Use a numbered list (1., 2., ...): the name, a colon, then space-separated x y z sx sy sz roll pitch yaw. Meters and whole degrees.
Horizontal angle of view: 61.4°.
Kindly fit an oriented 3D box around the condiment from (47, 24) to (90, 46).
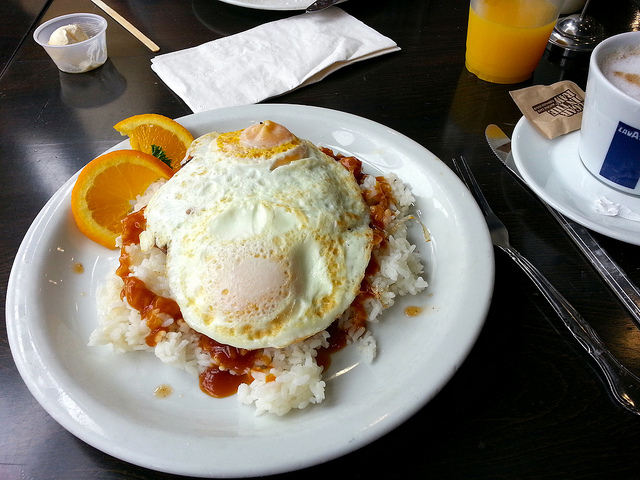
1. condiment: -1.149 -0.927 2.438 0.131 0.044 0.137 -5 48 -12

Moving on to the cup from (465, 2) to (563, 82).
1. cup: 0.808 -0.884 2.383 0.336 0.266 0.350 2 40 -1
